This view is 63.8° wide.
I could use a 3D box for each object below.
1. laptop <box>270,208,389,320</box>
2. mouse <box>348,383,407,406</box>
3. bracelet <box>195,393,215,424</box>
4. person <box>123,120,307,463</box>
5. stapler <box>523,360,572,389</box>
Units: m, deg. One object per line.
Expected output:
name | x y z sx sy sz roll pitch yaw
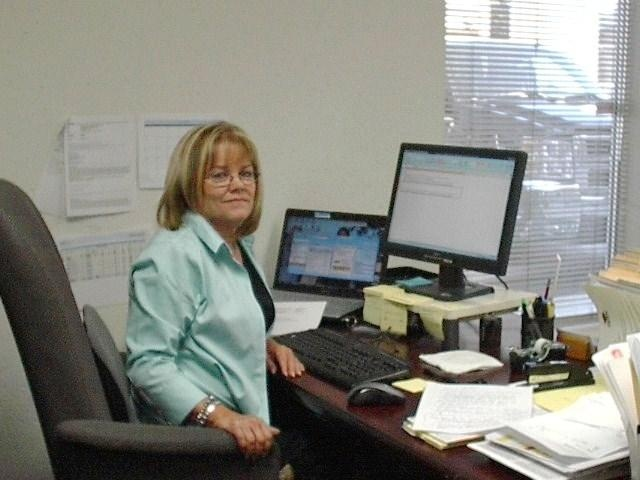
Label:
laptop | 0.053 0.013 2.131 0.489 0.337 0.413 7 14 20
mouse | 0.150 0.388 1.305 0.129 0.041 0.062 -5 3 0
bracelet | -0.289 0.436 1.325 0.023 0.060 0.050 30 -16 -3
person | -0.295 0.166 1.578 0.524 0.985 0.433 2 3 38
stapler | 0.621 0.364 1.403 0.129 0.057 0.103 2 6 -7
